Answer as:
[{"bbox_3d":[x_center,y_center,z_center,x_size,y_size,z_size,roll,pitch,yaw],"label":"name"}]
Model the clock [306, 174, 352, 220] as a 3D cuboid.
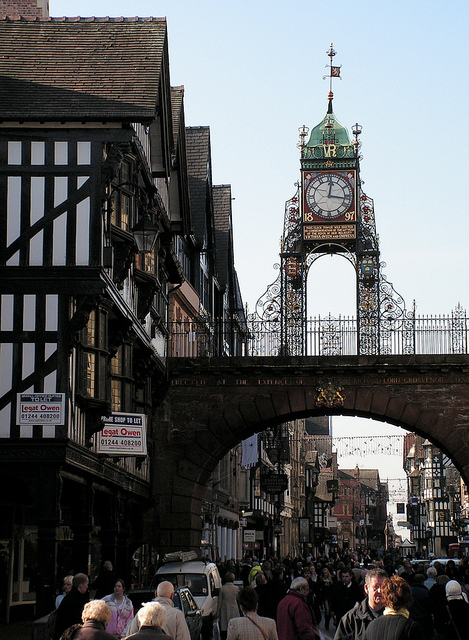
[{"bbox_3d":[2.689,-3.366,41.438,1.054,1.421,0.088,3,-23,10],"label":"clock"}]
